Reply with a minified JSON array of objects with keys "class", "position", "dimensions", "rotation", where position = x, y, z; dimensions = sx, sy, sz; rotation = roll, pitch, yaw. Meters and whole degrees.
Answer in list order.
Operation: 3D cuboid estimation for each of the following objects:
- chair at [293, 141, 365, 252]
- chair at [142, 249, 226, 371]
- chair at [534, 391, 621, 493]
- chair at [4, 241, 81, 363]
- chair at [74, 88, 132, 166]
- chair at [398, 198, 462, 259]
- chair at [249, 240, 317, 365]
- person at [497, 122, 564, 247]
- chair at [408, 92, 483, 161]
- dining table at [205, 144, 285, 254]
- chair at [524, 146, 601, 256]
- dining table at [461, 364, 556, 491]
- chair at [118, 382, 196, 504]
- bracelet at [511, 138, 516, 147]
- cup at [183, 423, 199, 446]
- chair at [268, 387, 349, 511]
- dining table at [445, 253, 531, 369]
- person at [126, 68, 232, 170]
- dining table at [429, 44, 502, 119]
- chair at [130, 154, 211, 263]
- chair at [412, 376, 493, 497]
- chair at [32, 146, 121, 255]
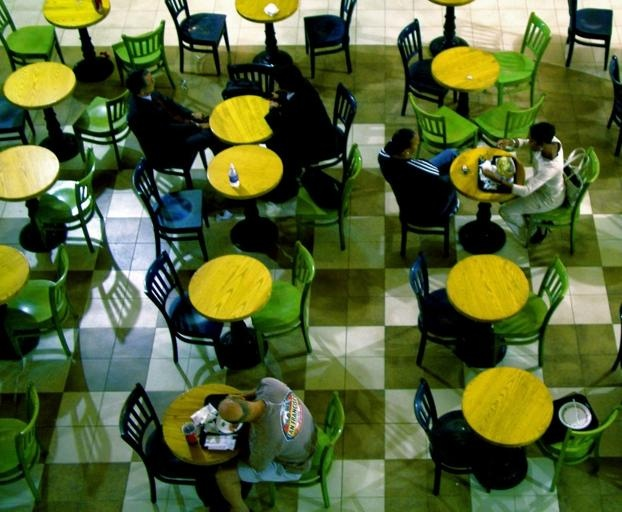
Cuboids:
[{"class":"chair","position":[0.177,-0.657,7.246],"dimensions":[0.725,1.089,0.679],"rotation":[4,62,2]},{"class":"chair","position":[-1.293,0.604,6.352],"dimensions":[0.676,1.060,0.628],"rotation":[-1,53,1]},{"class":"chair","position":[2.331,1.686,5.562],"dimensions":[0.527,0.777,0.545],"rotation":[-21,63,0]},{"class":"chair","position":[-2.808,0.535,6.570],"dimensions":[0.698,1.046,0.651],"rotation":[-2,56,-15]},{"class":"chair","position":[-2.658,-1.608,8.052],"dimensions":[0.636,0.978,0.646],"rotation":[20,62,-2]},{"class":"chair","position":[1.304,-0.276,7.122],"dimensions":[0.642,0.904,0.699],"rotation":[6,55,9]},{"class":"chair","position":[-0.287,0.532,6.427],"dimensions":[0.622,1.019,0.631],"rotation":[-7,55,-12]},{"class":"person","position":[2.327,-0.770,6.847],"dimensions":[0.757,1.477,0.719],"rotation":[-1,40,15]},{"class":"chair","position":[1.613,-1.550,7.604],"dimensions":[0.603,0.946,0.560],"rotation":[-44,68,-5]},{"class":"dining table","position":[-0.761,-0.638,7.224],"dimensions":[0.779,0.997,0.825],"rotation":[13,57,10]},{"class":"chair","position":[2.721,-0.557,6.864],"dimensions":[0.656,0.989,0.669],"rotation":[-6,56,10]},{"class":"dining table","position":[1.693,1.539,5.447],"dimensions":[0.631,0.782,0.655],"rotation":[22,65,19]},{"class":"chair","position":[-1.374,1.711,5.585],"dimensions":[0.614,0.975,0.579],"rotation":[-2,59,3]},{"class":"bracelet","position":[2.221,-1.264,6.959],"dimensions":[0.056,0.020,0.081],"rotation":[5,90,0]},{"class":"cup","position":[-0.995,1.475,5.176],"dimensions":[0.112,0.158,0.116],"rotation":[-2,43,2]},{"class":"chair","position":[-0.036,1.721,5.418],"dimensions":[0.643,0.970,0.703],"rotation":[2,54,-1]},{"class":"dining table","position":[1.662,0.552,6.249],"dimensions":[0.725,0.914,0.751],"rotation":[23,53,18]},{"class":"person","position":[-1.547,-1.583,7.515],"dimensions":[1.049,1.520,0.572],"rotation":[-19,46,-4]},{"class":"dining table","position":[1.872,-2.319,7.760],"dimensions":[0.770,0.822,0.756],"rotation":[-19,63,-5]},{"class":"chair","position":[-1.633,-0.510,7.252],"dimensions":[0.629,1.056,0.720],"rotation":[-7,56,-2]},{"class":"chair","position":[1.250,1.657,5.600],"dimensions":[0.599,0.910,0.605],"rotation":[-5,54,6]},{"class":"chair","position":[-2.771,-0.601,7.422],"dimensions":[0.733,1.045,0.752],"rotation":[8,57,-6]}]
